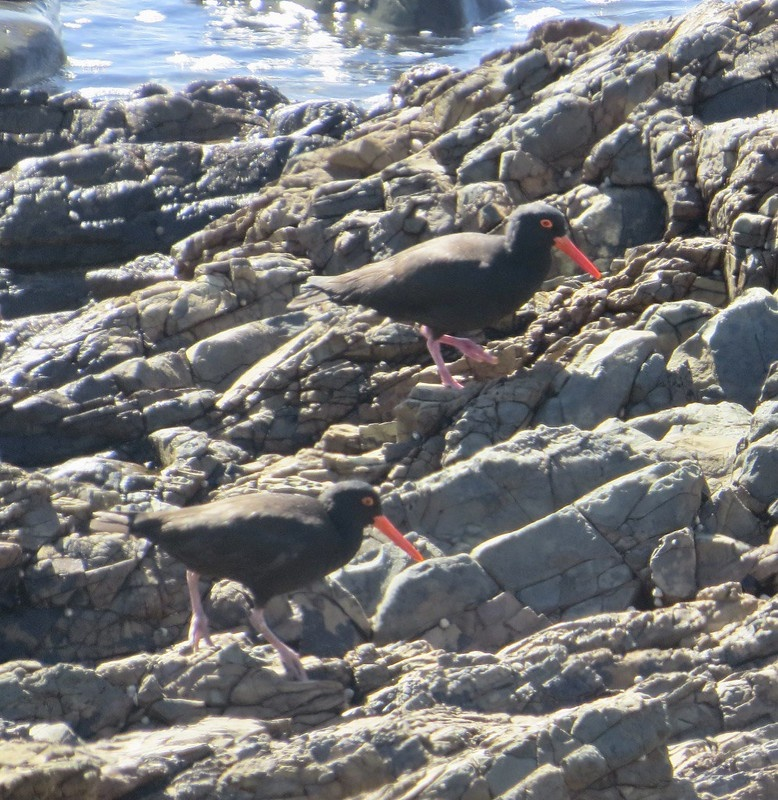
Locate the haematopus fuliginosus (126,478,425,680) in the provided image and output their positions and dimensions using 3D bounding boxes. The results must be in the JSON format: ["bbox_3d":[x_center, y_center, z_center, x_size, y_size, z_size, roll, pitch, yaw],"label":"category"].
[{"bbox_3d":[-0.775,0.933,10.626,2.286,1.102,0.860,11,15,-8],"label":"haematopus fuliginosus"}]
